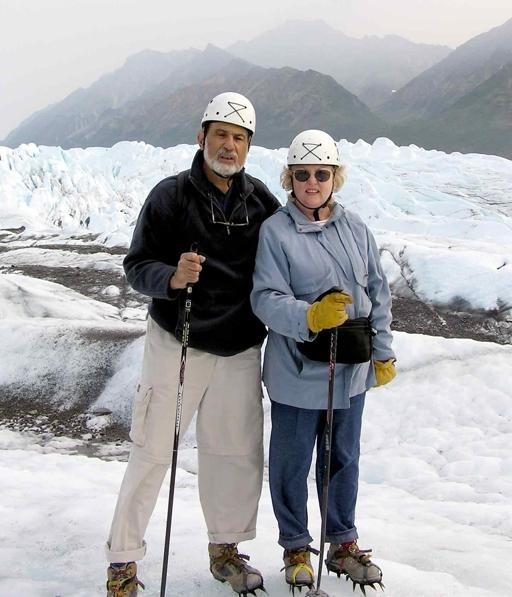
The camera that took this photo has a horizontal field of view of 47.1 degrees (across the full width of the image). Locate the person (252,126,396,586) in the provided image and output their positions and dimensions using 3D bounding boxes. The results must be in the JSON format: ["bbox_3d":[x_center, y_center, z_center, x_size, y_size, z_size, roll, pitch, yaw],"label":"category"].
[{"bbox_3d":[0.419,0.423,3.643,0.811,2.974,0.921,3,11,26],"label":"person"}]

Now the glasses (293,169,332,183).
[{"bbox_3d":[0.344,-0.766,3.651,0.137,0.035,0.120,1,-8,3],"label":"glasses"}]

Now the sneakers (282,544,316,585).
[{"bbox_3d":[0.265,1.613,3.562,0.191,0.286,0.199,-2,10,-3],"label":"sneakers"}]

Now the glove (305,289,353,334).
[{"bbox_3d":[0.396,0.076,3.250,0.121,0.221,0.175,35,-13,31],"label":"glove"}]

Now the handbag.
[{"bbox_3d":[0.494,0.174,3.622,0.577,0.423,0.352,-3,12,-3],"label":"handbag"}]
